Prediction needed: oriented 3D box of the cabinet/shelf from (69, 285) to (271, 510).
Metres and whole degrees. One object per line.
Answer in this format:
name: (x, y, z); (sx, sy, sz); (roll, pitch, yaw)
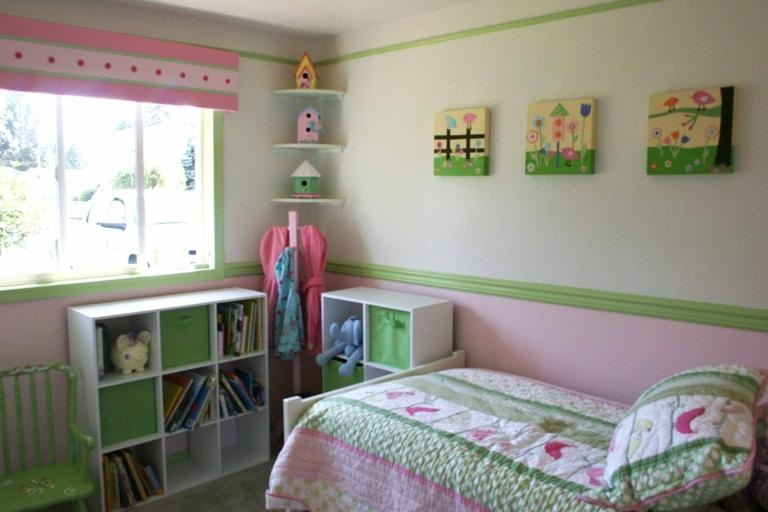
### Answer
cabinet/shelf: (-1.475, 0.943, 3.703); (0.459, 1.335, 1.384); (0, 4, 42)

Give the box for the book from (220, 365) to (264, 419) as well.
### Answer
book: (-1.057, 0.976, 4.008); (0.257, 0.337, 0.117); (-11, 42, 2)

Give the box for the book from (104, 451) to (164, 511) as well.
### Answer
book: (-1.655, 1.475, 3.608); (0.112, 0.343, 0.326); (-7, 9, 8)

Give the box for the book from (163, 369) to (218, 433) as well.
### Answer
book: (-1.333, 0.997, 3.811); (0.141, 0.407, 0.307); (10, 13, -18)

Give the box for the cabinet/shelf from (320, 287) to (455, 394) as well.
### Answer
cabinet/shelf: (0.037, 0.592, 3.765); (0.397, 0.754, 0.772); (1, -2, -45)
